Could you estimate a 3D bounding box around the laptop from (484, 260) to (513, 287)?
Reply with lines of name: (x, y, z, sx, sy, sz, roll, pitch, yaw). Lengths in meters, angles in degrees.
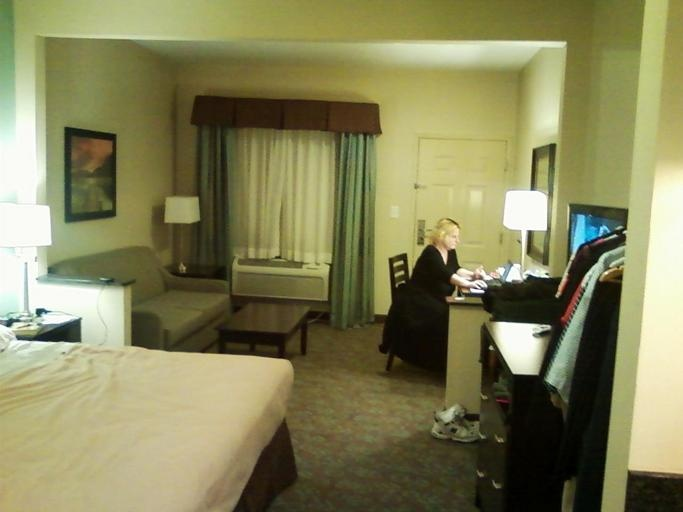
laptop: (1.381, 0.159, 5.220, 0.135, 0.192, 0.443, 2, 11, -5)

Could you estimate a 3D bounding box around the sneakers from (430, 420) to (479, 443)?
sneakers: (0.768, 1.187, 3.962, 0.230, 0.081, 0.206, -1, 3, 17)

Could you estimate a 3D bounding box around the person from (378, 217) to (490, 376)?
person: (0.801, 0.350, 5.153, 0.765, 1.266, 0.746, 8, 13, 29)

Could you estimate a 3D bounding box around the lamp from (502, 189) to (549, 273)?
lamp: (1.476, -0.198, 4.764, 0.317, 0.692, 0.789, 5, 12, 18)

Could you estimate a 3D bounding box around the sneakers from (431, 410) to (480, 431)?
sneakers: (0.784, 1.152, 3.998, 0.244, 0.109, 0.214, -2, 2, -39)
